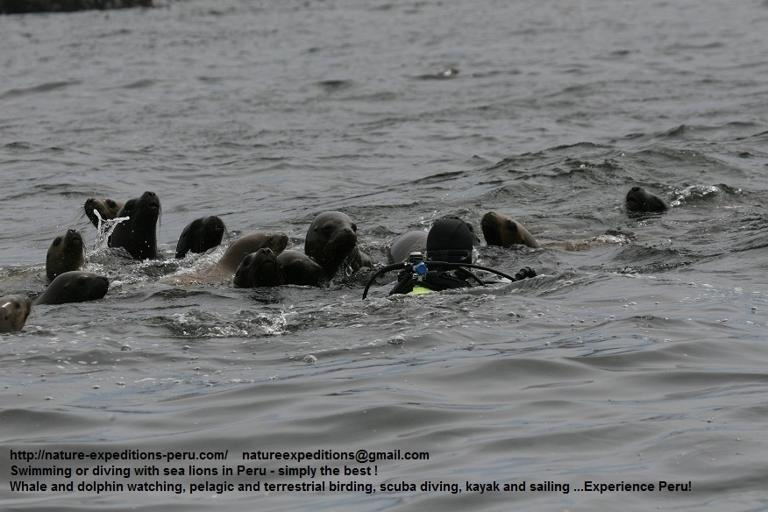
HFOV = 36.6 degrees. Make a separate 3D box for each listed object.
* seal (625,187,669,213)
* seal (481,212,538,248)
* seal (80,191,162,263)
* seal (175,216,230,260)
[{"bbox_3d":[4.496,-0.937,20.182,0.834,0.429,0.529,12,35,24],"label":"seal"},{"bbox_3d":[1.819,-0.352,17.690,0.913,0.507,0.557,16,38,29],"label":"seal"},{"bbox_3d":[-4.112,-0.620,18.489,0.945,1.188,1.802,-18,34,-18],"label":"seal"},{"bbox_3d":[-2.816,-0.252,18.254,0.936,1.227,0.577,2,71,-10],"label":"seal"}]
